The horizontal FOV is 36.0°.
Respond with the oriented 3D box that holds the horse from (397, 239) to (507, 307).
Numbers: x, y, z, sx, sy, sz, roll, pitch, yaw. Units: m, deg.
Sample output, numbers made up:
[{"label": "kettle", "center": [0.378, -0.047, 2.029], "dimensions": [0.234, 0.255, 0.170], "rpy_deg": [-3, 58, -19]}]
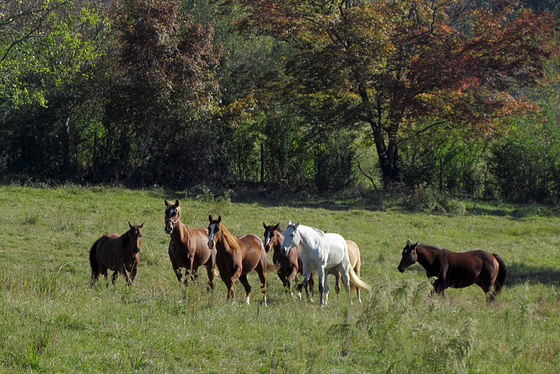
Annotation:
[{"label": "horse", "center": [8.689, 3.614, 39.710], "dimensions": [3.352, 3.588, 6.732], "rpy_deg": [4, -8, -40]}]
